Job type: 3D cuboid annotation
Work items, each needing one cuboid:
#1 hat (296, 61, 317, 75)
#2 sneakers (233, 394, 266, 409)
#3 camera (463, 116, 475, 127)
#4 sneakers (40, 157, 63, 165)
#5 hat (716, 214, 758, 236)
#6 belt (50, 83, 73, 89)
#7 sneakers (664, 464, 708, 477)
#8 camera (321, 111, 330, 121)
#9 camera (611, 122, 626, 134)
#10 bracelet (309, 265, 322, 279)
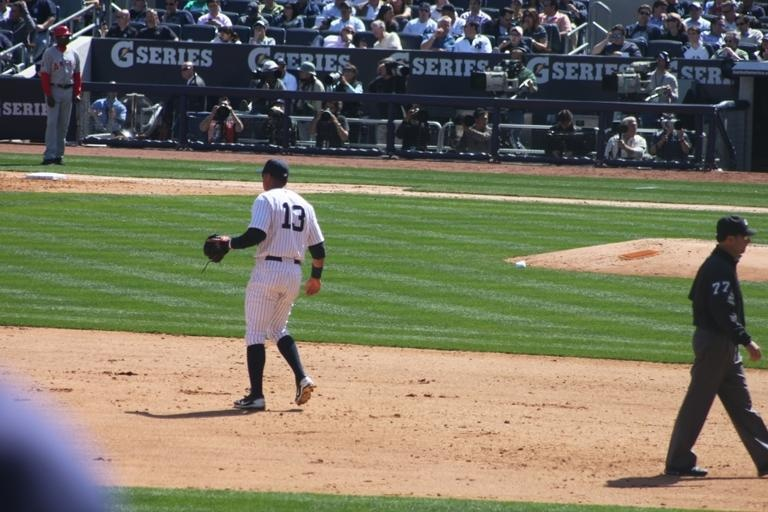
[{"bbox_3d":[-1.900,-4.637,50.042,0.424,0.176,0.398,16,18,16],"label":"hat"},{"bbox_3d":[-2.384,2.572,35.382,0.594,0.242,0.208,3,-1,4],"label":"sneakers"},{"bbox_3d":[1.998,-3.285,49.444,0.261,0.224,0.245,-23,-6,2],"label":"camera"},{"bbox_3d":[-7.626,-2.173,46.889,0.519,0.186,0.157,5,23,-10],"label":"sneakers"},{"bbox_3d":[5.873,-0.523,34.520,0.531,0.231,0.351,0,7,1],"label":"hat"},{"bbox_3d":[-7.231,-3.867,46.021,0.490,0.118,0.132,-5,13,-34],"label":"belt"},{"bbox_3d":[5.067,3.693,34.546,0.696,0.233,0.231,-2,4,-4],"label":"sneakers"},{"bbox_3d":[-1.449,-3.430,49.629,0.211,0.266,0.223,1,12,-8],"label":"camera"},{"bbox_3d":[5.537,-3.051,48.573,0.257,0.266,0.431,1,-1,-9],"label":"camera"},{"bbox_3d":[-1.206,0.286,35.698,0.222,0.206,0.220,11,10,33],"label":"bracelet"}]
